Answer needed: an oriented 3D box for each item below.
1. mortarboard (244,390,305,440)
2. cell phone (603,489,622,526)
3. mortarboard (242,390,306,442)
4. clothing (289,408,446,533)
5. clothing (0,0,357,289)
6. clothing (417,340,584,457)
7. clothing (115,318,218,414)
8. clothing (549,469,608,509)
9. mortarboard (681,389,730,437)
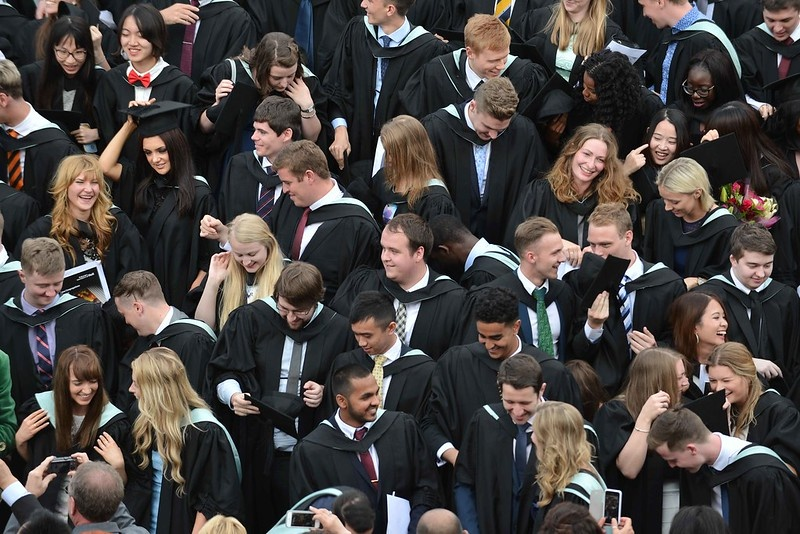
[{"bbox_3d":[-1.214,1.441,9.680,0.581,0.107,0.654,21,-18,17],"label":"mortarboard"},{"bbox_3d":[1.816,2.050,8.365,0.150,0.293,0.032,-3,-19,31],"label":"cell phone"},{"bbox_3d":[-1.216,1.445,9.684,0.654,0.118,0.727,17,-20,14],"label":"mortarboard"},{"bbox_3d":[-0.292,1.938,9.152,1.511,1.563,0.938,-3,6,-9],"label":"clothing"},{"bbox_3d":[-2.655,-1.338,11.563,3.638,1.651,1.128,-6,40,2],"label":"clothing"},{"bbox_3d":[0.967,1.537,9.484,1.529,1.619,0.867,3,14,-1],"label":"clothing"},{"bbox_3d":[-2.278,0.993,9.676,0.898,0.874,0.397,0,40,-44],"label":"clothing"},{"bbox_3d":[1.548,1.897,8.400,0.321,0.125,0.333,-7,28,47],"label":"clothing"},{"bbox_3d":[2.837,1.355,9.032,0.344,0.365,0.036,-18,11,4],"label":"mortarboard"}]
